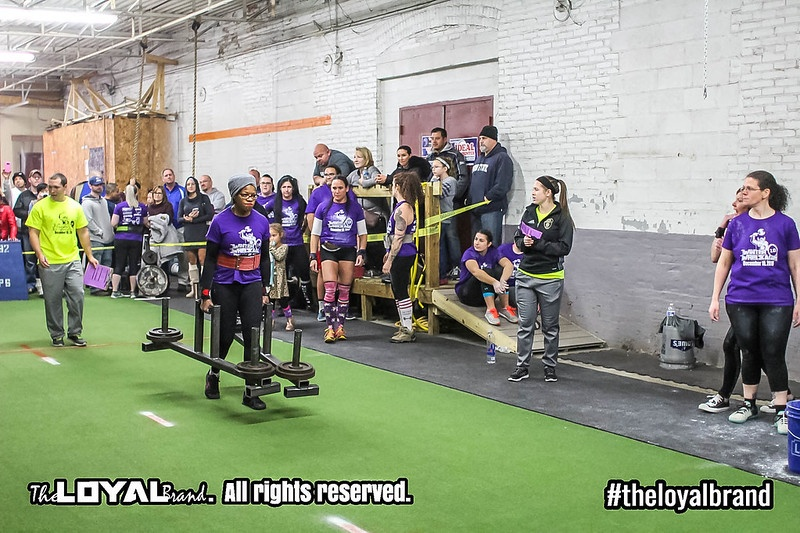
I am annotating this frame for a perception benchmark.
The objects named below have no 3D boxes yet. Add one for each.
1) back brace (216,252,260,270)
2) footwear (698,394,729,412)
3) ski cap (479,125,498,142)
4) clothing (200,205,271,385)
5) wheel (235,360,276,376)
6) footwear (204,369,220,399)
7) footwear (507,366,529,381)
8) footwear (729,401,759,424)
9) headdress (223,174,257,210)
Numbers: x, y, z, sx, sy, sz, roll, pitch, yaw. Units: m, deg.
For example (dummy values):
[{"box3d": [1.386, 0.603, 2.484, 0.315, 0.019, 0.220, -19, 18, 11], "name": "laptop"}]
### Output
[{"box3d": [-1.744, -0.043, 6.130, 0.435, 0.182, 0.100, -3, 8, -22], "name": "back brace"}, {"box3d": [3.445, 1.506, 6.259, 0.378, 0.145, 0.164, 1, -2, -12], "name": "footwear"}, {"box3d": [1.540, -2.314, 9.881, 0.289, 0.206, 0.267, 0, 4, -6], "name": "ski cap"}, {"box3d": [-1.843, 0.137, 6.332, 0.734, 2.242, 0.697, -1, 6, -26], "name": "clothing"}, {"box3d": [-1.426, 1.027, 5.660, 0.229, 0.070, 0.218, 2, 6, 0], "name": "wheel"}, {"box3d": [-2.156, 1.373, 6.530, 0.138, 0.382, 0.160, 2, -42, -28], "name": "footwear"}, {"box3d": [1.506, 1.358, 7.226, 0.346, 0.151, 0.122, 1, 2, -41], "name": "footwear"}, {"box3d": [3.587, 1.520, 5.943, 0.462, 0.181, 0.152, 0, -2, -38], "name": "footwear"}, {"box3d": [-1.725, -0.801, 6.141, 0.438, 0.371, 0.385, 3, 7, 24], "name": "headdress"}]
